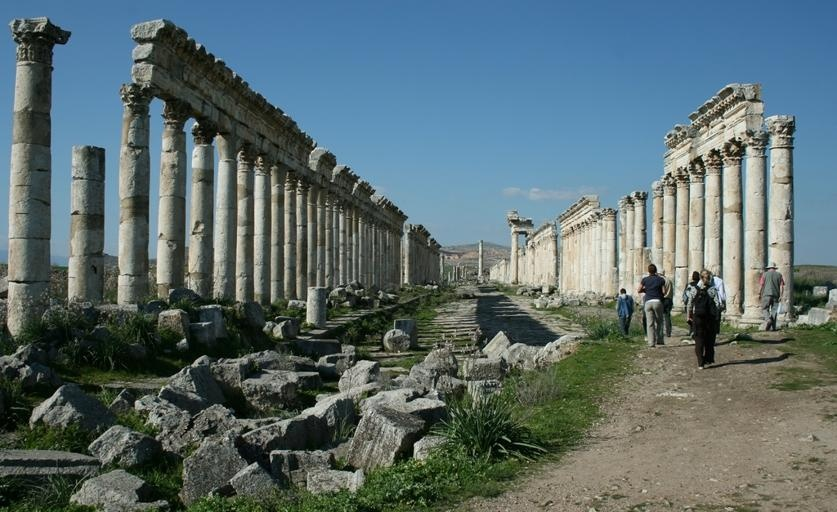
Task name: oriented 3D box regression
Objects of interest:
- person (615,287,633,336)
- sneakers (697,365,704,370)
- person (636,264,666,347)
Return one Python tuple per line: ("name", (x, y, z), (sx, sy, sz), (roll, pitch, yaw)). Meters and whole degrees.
("person", (7.142, 1.919, 25.439), (0.431, 1.554, 1.506), (0, -2, 15))
("sneakers", (7.436, 2.943, 19.298), (0.151, 0.081, 0.160), (0, -2, 13))
("person", (7.173, 1.519, 22.558), (0.720, 2.486, 1.066), (0, -2, 17))
